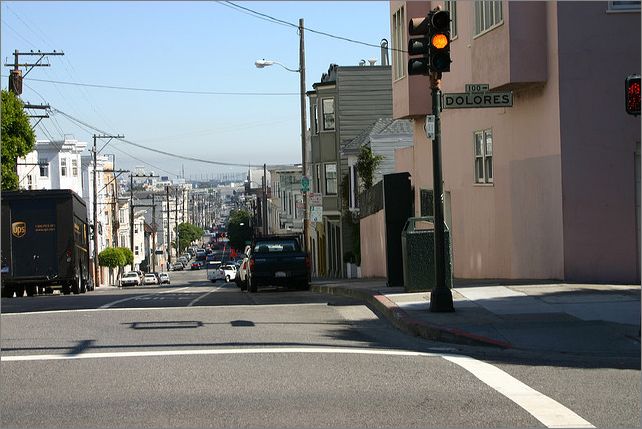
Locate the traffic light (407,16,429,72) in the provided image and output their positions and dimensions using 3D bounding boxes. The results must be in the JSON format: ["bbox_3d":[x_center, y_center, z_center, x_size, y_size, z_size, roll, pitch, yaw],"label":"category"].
[{"bbox_3d":[2.164,-3.715,16.449,0.445,1.247,0.507,-1,5,8],"label":"traffic light"}]

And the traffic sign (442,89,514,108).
[{"bbox_3d":[3.694,-2.696,17.515,0.612,0.368,2.314,3,7,42],"label":"traffic sign"}]

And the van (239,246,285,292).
[{"bbox_3d":[-1.983,2.010,28.872,1.748,1.919,3.198,-3,5,-10],"label":"van"}]

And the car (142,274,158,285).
[{"bbox_3d":[-15.632,6.164,68.694,1.097,0.935,2.420,-1,5,5],"label":"car"}]

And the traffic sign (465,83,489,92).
[{"bbox_3d":[3.574,-2.895,17.175,0.627,0.206,0.278,-5,6,-34],"label":"traffic sign"}]

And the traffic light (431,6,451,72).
[{"bbox_3d":[2.586,-3.770,16.172,0.445,1.384,0.516,0,5,11],"label":"traffic light"}]

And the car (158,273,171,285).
[{"bbox_3d":[-14.855,6.305,71.265,0.840,0.770,2.008,-1,7,-7],"label":"car"}]
